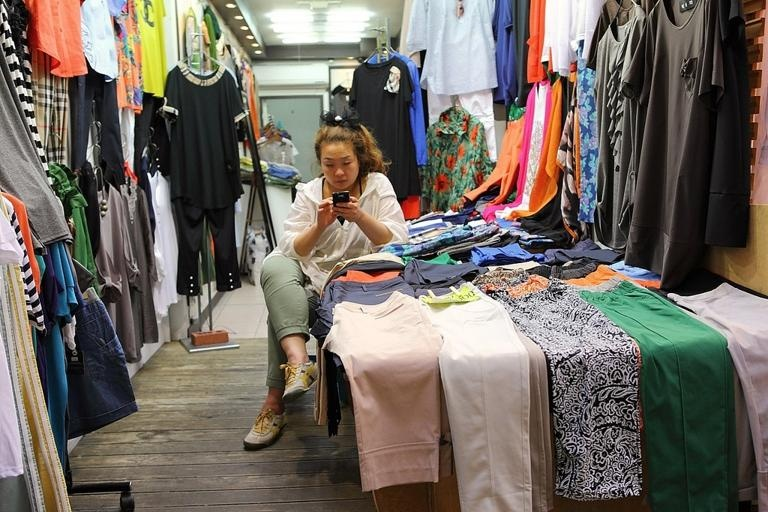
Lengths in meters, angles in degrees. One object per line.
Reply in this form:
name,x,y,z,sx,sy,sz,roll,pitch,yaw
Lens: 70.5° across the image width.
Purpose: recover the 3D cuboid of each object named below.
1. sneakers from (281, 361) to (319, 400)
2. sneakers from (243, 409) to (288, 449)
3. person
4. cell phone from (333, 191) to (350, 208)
sneakers,-0.377,0.541,2.389,0.145,0.133,0.167,-3,13,-12
sneakers,-0.607,0.872,2.742,0.096,0.130,0.277,0,-1,7
person,-0.358,0.082,2.821,0.624,1.618,1.083,7,15,31
cell phone,-0.218,-0.280,2.703,0.070,0.079,0.028,0,10,-5
